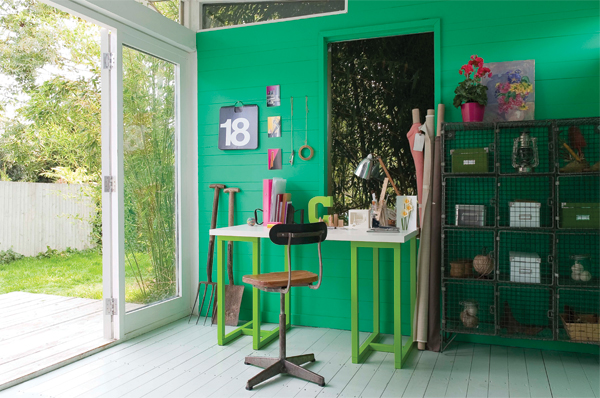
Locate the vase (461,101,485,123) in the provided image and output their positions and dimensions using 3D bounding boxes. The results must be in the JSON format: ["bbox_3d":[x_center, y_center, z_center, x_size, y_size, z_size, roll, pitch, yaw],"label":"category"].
[{"bbox_3d":[1.745,-0.878,4.625,0.225,0.154,0.220,0,-1,16],"label":"vase"}]

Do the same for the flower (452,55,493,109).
[{"bbox_3d":[1.781,-1.220,4.721,0.338,0.522,0.391,5,15,20],"label":"flower"}]

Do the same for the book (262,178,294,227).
[{"bbox_3d":[-0.270,0.028,5.053,0.308,0.521,0.462,-1,14,-3],"label":"book"}]

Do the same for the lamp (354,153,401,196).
[{"bbox_3d":[0.853,-0.271,4.977,0.458,0.479,0.522,3,15,14],"label":"lamp"}]

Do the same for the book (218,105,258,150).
[{"bbox_3d":[-0.740,-0.878,5.542,0.585,0.565,0.061,2,3,20],"label":"book"}]

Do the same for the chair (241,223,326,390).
[{"bbox_3d":[-0.154,0.896,4.436,0.810,1.467,1.102,0,14,3],"label":"chair"}]
